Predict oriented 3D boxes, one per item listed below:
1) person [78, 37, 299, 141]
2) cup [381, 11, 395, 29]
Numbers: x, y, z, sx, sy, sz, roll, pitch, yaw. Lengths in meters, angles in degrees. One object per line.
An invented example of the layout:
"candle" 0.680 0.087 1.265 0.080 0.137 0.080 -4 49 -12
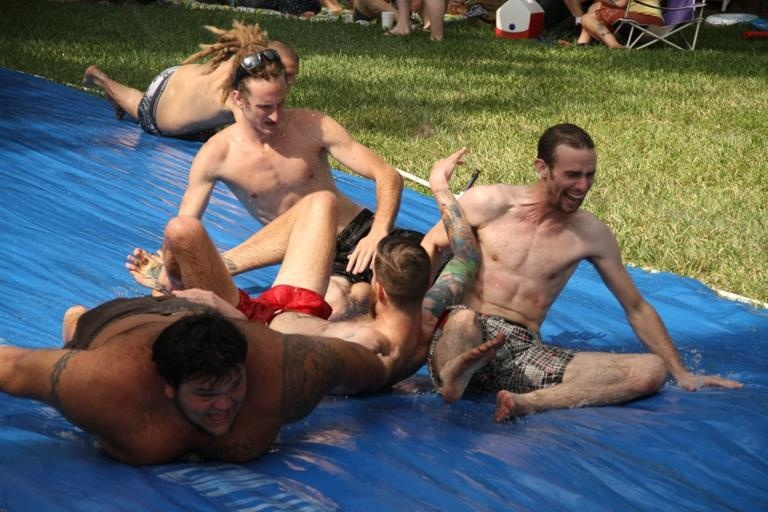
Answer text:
"person" -2.234 -1.530 9.119 1.786 0.643 0.849 6 18 7
"cup" 0.074 -4.657 17.134 0.367 0.359 0.345 0 4 0
